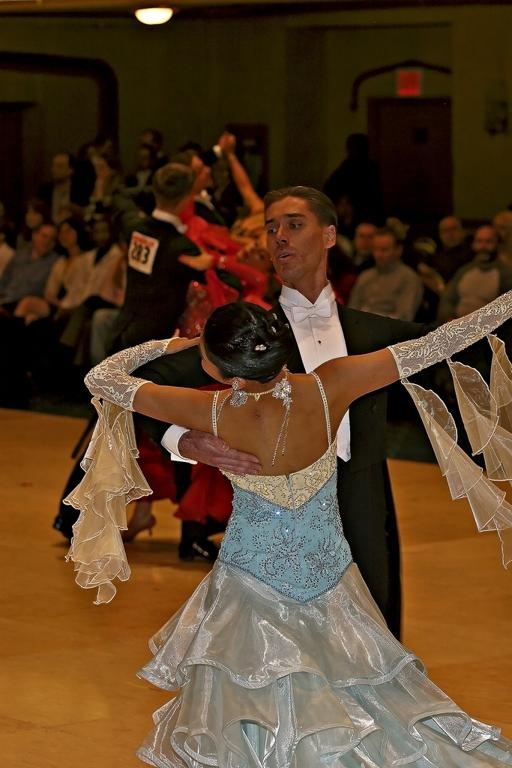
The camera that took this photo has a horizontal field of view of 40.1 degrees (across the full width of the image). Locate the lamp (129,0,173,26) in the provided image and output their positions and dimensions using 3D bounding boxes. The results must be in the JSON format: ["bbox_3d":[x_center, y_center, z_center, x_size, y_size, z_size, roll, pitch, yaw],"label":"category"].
[{"bbox_3d":[-0.510,-1.832,3.508,0.190,0.041,0.131,1,-2,-7],"label":"lamp"}]
